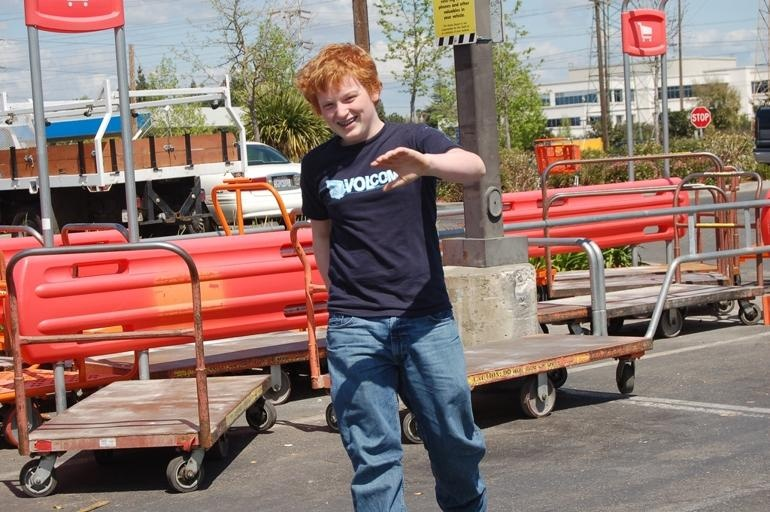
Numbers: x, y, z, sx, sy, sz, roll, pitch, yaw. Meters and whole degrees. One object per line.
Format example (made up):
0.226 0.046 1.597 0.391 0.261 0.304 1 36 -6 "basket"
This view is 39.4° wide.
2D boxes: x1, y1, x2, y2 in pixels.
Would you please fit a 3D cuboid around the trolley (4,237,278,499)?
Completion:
-2.333 0.919 9.804 2.039 2.172 2.167 0 7 40 "trolley"
